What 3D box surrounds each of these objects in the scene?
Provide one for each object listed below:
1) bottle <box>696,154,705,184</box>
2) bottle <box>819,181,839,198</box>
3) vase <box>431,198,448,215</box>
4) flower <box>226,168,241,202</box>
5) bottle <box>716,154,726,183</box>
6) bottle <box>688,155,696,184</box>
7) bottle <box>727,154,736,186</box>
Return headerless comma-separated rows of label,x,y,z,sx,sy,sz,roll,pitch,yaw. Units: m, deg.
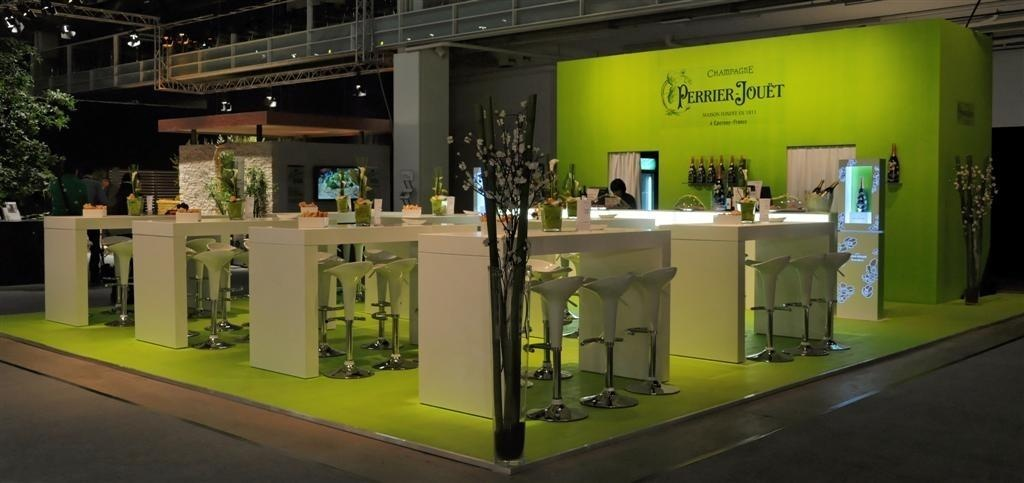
bottle,4.339,-1.637,16.102,0.180,0.598,0.164,-3,4,0
bottle,6.458,-1.043,14.302,0.178,0.156,0.673,10,33,42
vase,-1.515,-0.705,13.944,0.396,0.358,0.364,-4,8,-25
flower,-5.097,-1.046,12.873,0.281,0.574,0.351,-4,5,-24
bottle,4.722,-1.651,15.908,0.195,0.615,0.186,-3,4,0
bottle,4.161,-1.625,16.192,0.192,0.647,0.176,-3,4,0
bottle,4.969,-1.611,15.817,0.197,0.678,0.185,-3,4,0
